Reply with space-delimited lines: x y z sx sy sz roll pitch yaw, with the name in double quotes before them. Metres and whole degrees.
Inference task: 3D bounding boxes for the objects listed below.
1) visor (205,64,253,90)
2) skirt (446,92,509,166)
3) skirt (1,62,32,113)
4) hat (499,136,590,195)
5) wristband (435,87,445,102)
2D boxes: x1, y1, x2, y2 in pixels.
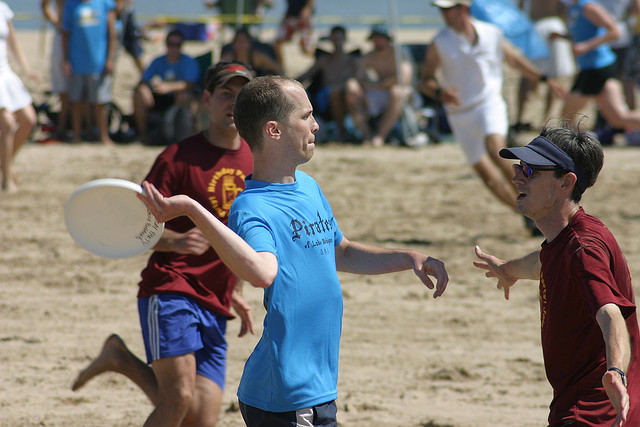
"visor" -0.833 -1.318 15.869 0.419 0.218 0.602 -2 -1 -18
"skirt" 1.784 -0.961 18.365 0.770 0.740 0.248 -20 -2 32
"skirt" -2.989 -1.210 16.250 0.415 0.480 0.237 6 -19 -2
"hat" 2.108 -0.477 15.313 0.837 0.355 0.649 31 -1 -18
"wristband" 1.325 -1.332 18.336 0.030 0.131 0.132 9 20 -17
